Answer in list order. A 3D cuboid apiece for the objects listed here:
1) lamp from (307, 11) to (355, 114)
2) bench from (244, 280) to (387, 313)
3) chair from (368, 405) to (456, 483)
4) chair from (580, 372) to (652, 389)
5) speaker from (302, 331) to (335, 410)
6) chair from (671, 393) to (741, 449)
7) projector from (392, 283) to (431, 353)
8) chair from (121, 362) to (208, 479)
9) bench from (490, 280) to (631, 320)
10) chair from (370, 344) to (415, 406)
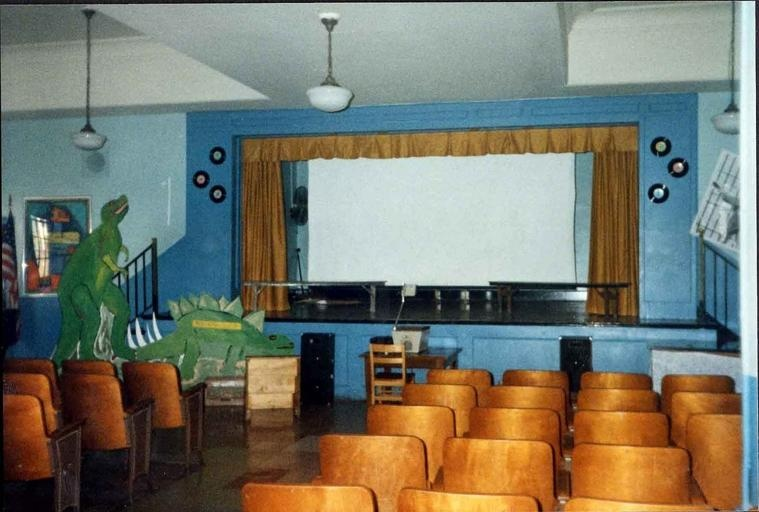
[{"bbox_3d":[-0.584,-2.198,9.523,0.512,0.954,1.362,0,-2,-2],"label":"lamp"},{"bbox_3d":[-0.998,0.552,11.806,1.907,0.415,2.226,0,-2,0],"label":"bench"},{"bbox_3d":[0.305,1.641,7.117,0.626,0.911,0.696,0,-3,12],"label":"chair"},{"bbox_3d":[2.291,1.197,7.791,0.640,0.141,0.243,-1,-2,22],"label":"chair"},{"bbox_3d":[-0.804,1.374,10.324,0.465,0.873,0.502,-1,8,-19],"label":"speaker"},{"bbox_3d":[2.932,1.379,7.217,0.569,0.357,0.613,-7,-20,4],"label":"chair"},{"bbox_3d":[0.392,0.750,9.623,0.546,0.790,0.528,1,-7,-19],"label":"projector"},{"bbox_3d":[-2.180,1.735,8.340,0.777,1.144,0.719,-7,-18,6],"label":"chair"},{"bbox_3d":[2.575,0.600,11.423,1.640,0.471,1.911,0,-2,-7],"label":"bench"},{"bbox_3d":[0.119,1.385,9.318,0.465,0.833,0.531,0,1,16],"label":"chair"}]
